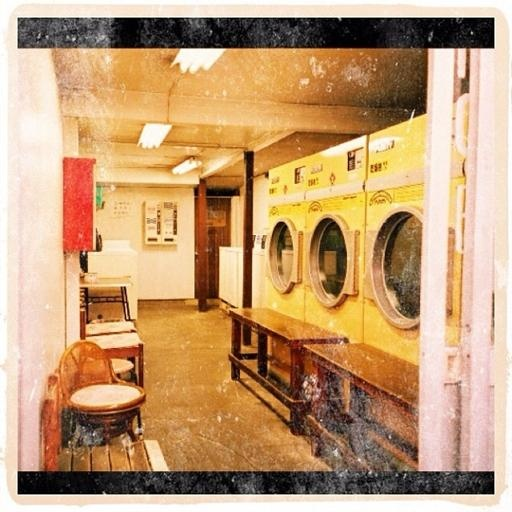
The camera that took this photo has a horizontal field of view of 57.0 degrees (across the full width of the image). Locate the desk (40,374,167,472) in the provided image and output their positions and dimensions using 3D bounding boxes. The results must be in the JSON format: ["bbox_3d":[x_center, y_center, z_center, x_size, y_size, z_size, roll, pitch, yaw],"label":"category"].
[{"bbox_3d":[-0.807,0.923,2.581,0.648,0.543,1.022,3,-9,-11],"label":"desk"}]

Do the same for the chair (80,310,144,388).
[{"bbox_3d":[-1.133,0.716,3.763,0.466,0.510,0.898,0,6,-24],"label":"chair"}]

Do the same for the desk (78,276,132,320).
[{"bbox_3d":[-2.027,0.540,5.884,0.704,0.676,0.796,0,-2,3],"label":"desk"}]

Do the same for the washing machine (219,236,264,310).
[{"bbox_3d":[-0.209,0.272,6.644,0.354,1.239,1.128,0,3,-13],"label":"washing machine"}]

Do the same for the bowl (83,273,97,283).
[{"bbox_3d":[-1.792,0.240,5.093,0.118,0.113,0.188,5,-9,-24],"label":"bowl"}]
